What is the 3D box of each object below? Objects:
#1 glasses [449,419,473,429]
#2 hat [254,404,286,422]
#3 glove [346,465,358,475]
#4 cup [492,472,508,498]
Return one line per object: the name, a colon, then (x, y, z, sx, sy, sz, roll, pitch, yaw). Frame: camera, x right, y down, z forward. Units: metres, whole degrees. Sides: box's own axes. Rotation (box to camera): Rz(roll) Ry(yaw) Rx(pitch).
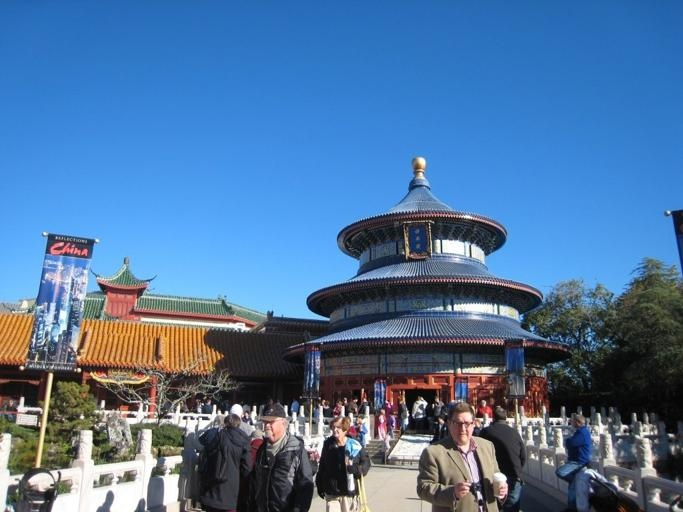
glasses: (1.267, 1.762, 5.528, 0.246, 0.158, 0.191, -2, -18, 8)
hat: (-0.882, 2.089, 6.793, 0.292, 0.219, 0.420, -1, -5, -1)
glove: (0.169, 3.088, 7.518, 0.126, 0.152, 0.207, -12, -22, 34)
cup: (1.597, 2.325, 5.275, 0.122, 0.253, 0.301, -3, -18, 11)
